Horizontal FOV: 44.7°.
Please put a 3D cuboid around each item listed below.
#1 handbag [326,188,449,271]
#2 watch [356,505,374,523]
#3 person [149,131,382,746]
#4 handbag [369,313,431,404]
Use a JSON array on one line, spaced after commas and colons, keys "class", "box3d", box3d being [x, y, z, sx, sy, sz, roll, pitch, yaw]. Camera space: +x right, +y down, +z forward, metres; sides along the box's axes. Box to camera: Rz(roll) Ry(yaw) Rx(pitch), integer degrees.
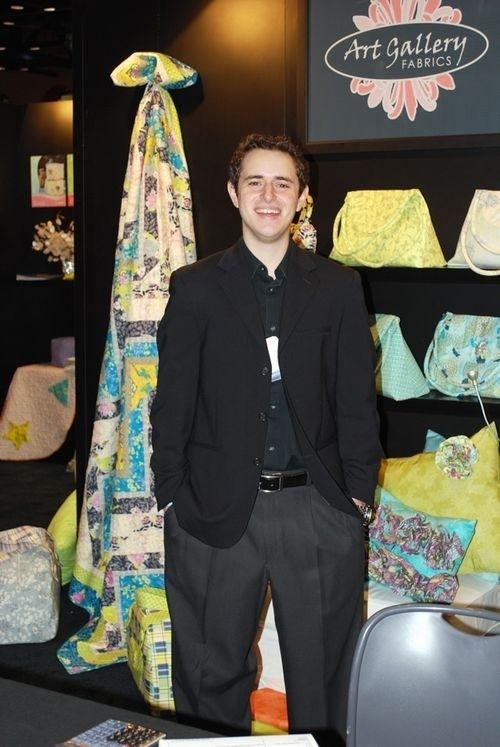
[{"class": "handbag", "box3d": [0.455, -0.494, 2.067, 0.381, 0.238, 0.208, 13, 29, 40]}, {"class": "watch", "box3d": [0.279, 0.340, 1.449, 0.020, 0.051, 0.038, -9, 41, 31]}, {"class": "person", "box3d": [0.031, 0.173, 1.455, 0.545, 1.385, 0.474, 3, 20, 12]}, {"class": "handbag", "box3d": [0.538, -0.121, 2.172, 0.169, 0.294, 0.307, -1, 17, 22]}]
